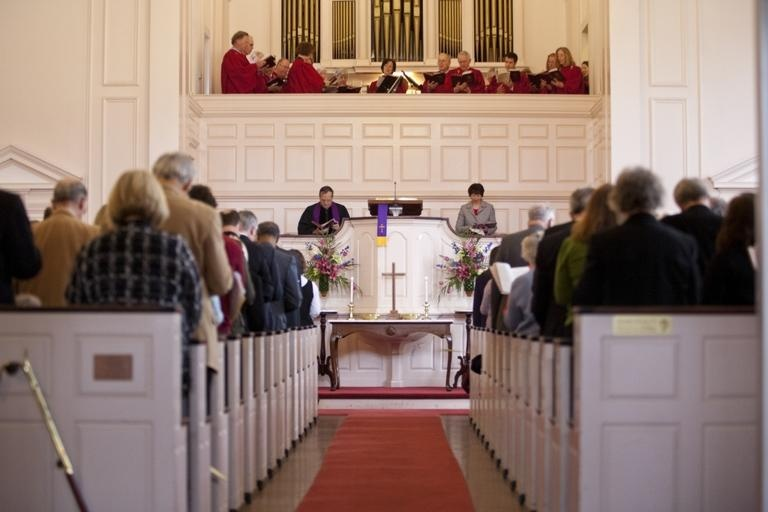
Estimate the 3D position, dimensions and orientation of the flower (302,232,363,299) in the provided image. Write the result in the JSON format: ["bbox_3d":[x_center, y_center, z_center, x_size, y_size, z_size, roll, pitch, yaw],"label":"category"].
[{"bbox_3d":[-0.742,0.189,11.795,0.699,1.005,0.857,-4,-7,15],"label":"flower"}]

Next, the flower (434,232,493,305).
[{"bbox_3d":[1.052,0.169,11.673,0.817,0.999,0.788,9,-12,1],"label":"flower"}]
